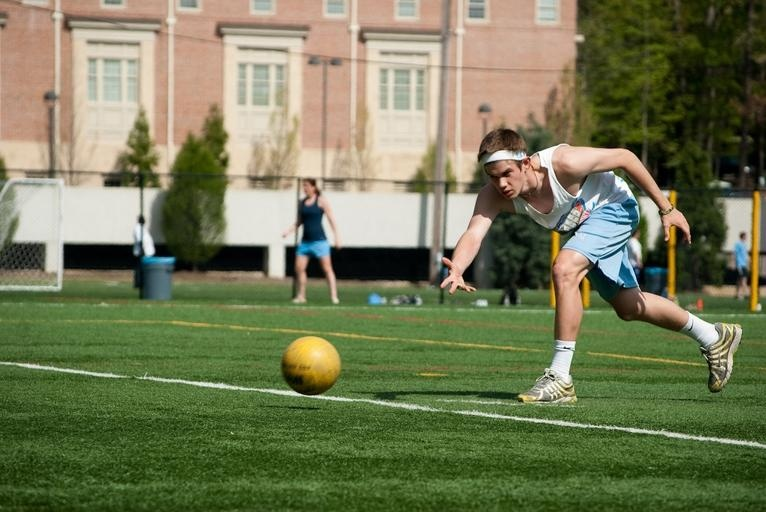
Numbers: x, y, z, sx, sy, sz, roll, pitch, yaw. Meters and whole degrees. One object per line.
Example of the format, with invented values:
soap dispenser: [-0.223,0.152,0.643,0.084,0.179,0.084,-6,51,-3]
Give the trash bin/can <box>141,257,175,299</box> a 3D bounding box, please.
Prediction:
trash bin/can: [-3.634,0.294,21.887,0.666,0.894,0.621,1,-1,0]

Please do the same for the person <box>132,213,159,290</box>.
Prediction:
person: [-3.734,-0.109,21.301,0.335,1.127,0.742,0,2,-11]

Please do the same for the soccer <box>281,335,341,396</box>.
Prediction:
soccer: [-0.775,1.158,14.657,0.613,0.621,0.269,0,2,-3]
